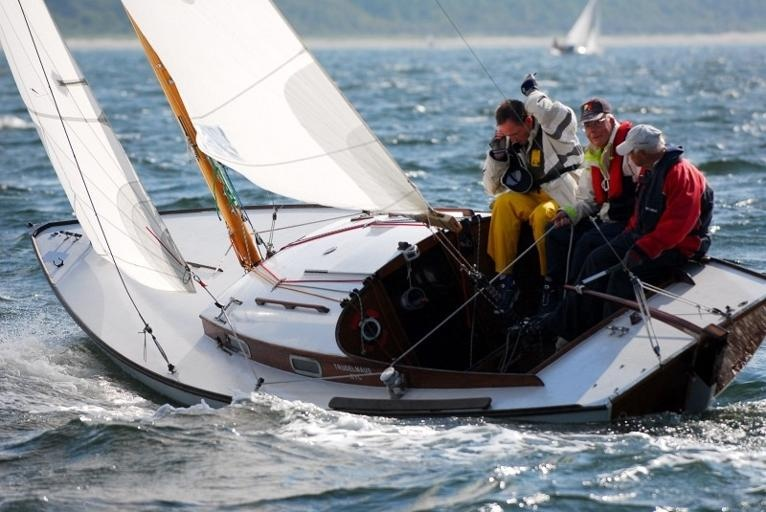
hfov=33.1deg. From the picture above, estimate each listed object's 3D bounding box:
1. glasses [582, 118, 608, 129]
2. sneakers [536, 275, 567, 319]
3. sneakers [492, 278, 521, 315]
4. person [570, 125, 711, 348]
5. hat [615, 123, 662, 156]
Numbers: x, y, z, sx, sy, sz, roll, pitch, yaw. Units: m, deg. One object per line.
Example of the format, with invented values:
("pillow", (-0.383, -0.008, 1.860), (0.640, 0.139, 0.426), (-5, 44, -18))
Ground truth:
("glasses", (2.036, -1.281, 12.396), (0.131, 0.034, 0.137), (-28, -14, 37))
("sneakers", (1.641, 0.391, 12.542), (0.168, 0.188, 0.497), (4, 38, 16))
("sneakers", (1.193, 0.341, 12.607), (0.153, 0.287, 0.426), (8, 47, 30))
("person", (2.513, -0.431, 12.152), (1.194, 1.567, 0.640), (-13, 24, -29))
("hat", (2.399, -1.110, 12.132), (0.389, 0.197, 0.235), (2, 28, 12))
